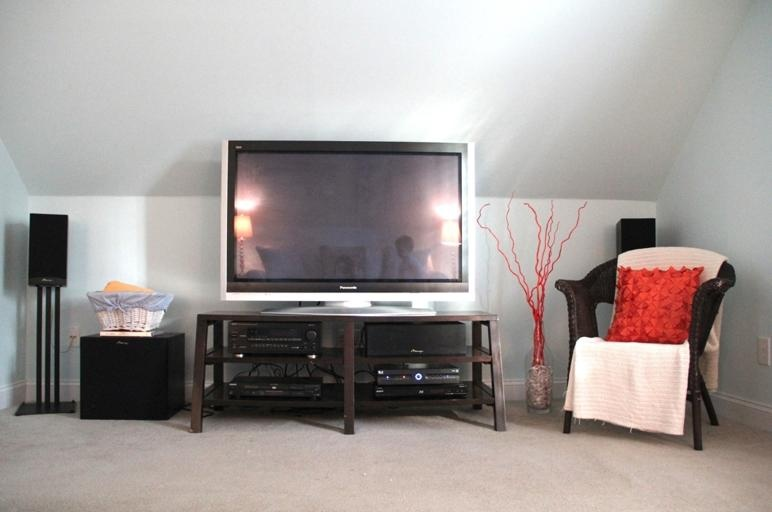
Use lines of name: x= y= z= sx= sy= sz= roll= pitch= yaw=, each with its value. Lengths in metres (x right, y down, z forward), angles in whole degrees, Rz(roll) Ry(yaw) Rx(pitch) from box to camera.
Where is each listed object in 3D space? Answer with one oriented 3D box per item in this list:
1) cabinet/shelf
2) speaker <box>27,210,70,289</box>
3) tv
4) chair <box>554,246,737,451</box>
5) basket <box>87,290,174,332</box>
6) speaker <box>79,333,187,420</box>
cabinet/shelf: x=-0.228 y=0.763 z=4.214 sx=2.006 sy=0.729 sz=0.719 roll=0 pitch=-2 yaw=-1
speaker: x=-2.366 y=-0.043 z=4.221 sx=0.276 sy=0.502 sz=0.192 roll=-6 pitch=13 yaw=-26
tv: x=-0.261 y=-0.220 z=4.185 sx=1.744 sy=1.091 sz=0.144 roll=1 pitch=4 yaw=5
chair: x=1.739 y=0.520 z=3.984 sx=1.101 sy=1.215 sz=1.056 roll=3 pitch=-2 yaw=-37
basket: x=-1.792 y=0.373 z=4.258 sx=0.588 sy=0.273 sz=0.422 roll=1 pitch=-4 yaw=-16
speaker: x=-1.731 y=0.827 z=4.308 sx=0.649 sy=0.557 sz=0.488 roll=-1 pitch=-2 yaw=9
